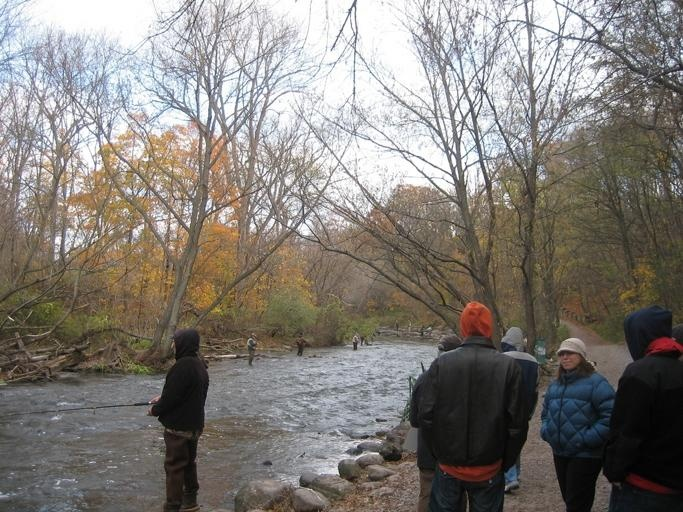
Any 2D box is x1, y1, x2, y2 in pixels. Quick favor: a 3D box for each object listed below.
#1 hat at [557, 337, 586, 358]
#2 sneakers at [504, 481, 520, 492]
[{"bbox_3d":[3.543,1.386,9.042,0.301,0.320,0.399,-5,-38,44],"label":"hat"},{"bbox_3d":[3.011,4.091,10.414,0.121,0.180,0.364,-7,-20,-11],"label":"sneakers"}]
